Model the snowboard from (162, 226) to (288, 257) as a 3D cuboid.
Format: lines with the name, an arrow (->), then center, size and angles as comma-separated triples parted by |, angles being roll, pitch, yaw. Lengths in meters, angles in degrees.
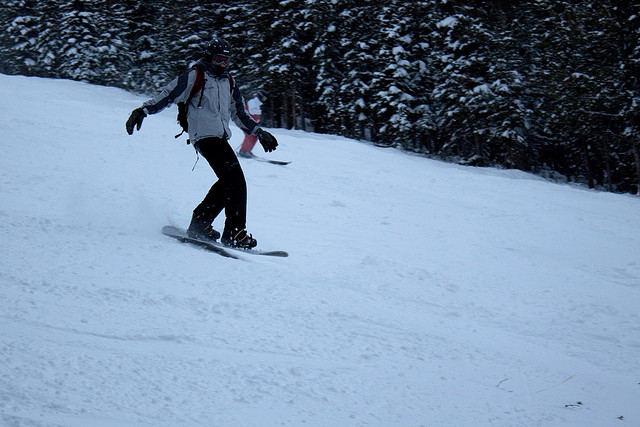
snowboard -> -2.021, 0.597, 13.551 | 2.617, 0.171, 0.255 | 10, 15, -5

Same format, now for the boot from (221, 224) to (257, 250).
boot -> -1.635, 0.502, 13.189 | 0.675, 0.271, 0.373 | 4, 10, 13
